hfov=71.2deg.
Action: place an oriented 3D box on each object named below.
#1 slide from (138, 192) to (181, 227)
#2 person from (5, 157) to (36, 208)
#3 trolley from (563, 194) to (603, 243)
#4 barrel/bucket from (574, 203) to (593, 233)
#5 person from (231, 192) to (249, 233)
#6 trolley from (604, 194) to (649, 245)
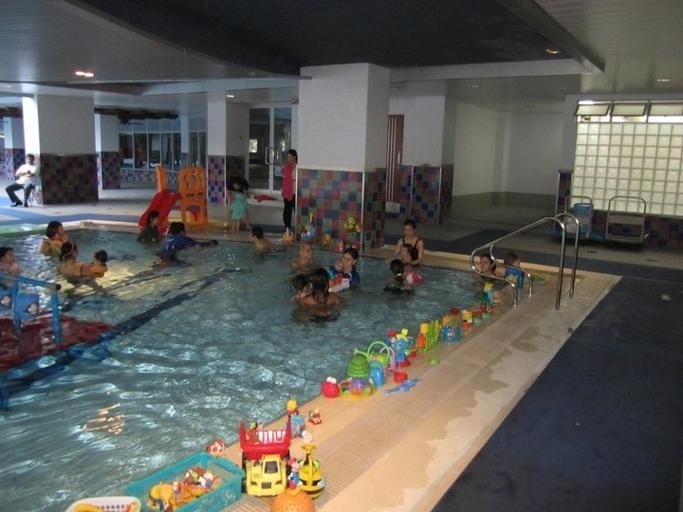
[{"bbox_3d":[-3.278,-0.904,8.605,0.619,0.761,0.215,20,11,-41],"label":"slide"},{"bbox_3d":[-7.887,-1.876,11.773,0.693,1.233,0.991,-11,17,-33],"label":"person"},{"bbox_3d":[4.512,-0.726,9.305,0.693,0.786,0.697,0,-4,44],"label":"trolley"},{"bbox_3d":[4.658,-0.708,9.209,0.353,0.594,0.572,4,15,19],"label":"barrel/bucket"},{"bbox_3d":[-1.968,-0.894,9.144,0.323,0.681,0.943,-4,14,-12],"label":"person"},{"bbox_3d":[5.386,-0.678,8.991,0.733,0.875,0.635,8,17,31],"label":"trolley"}]
